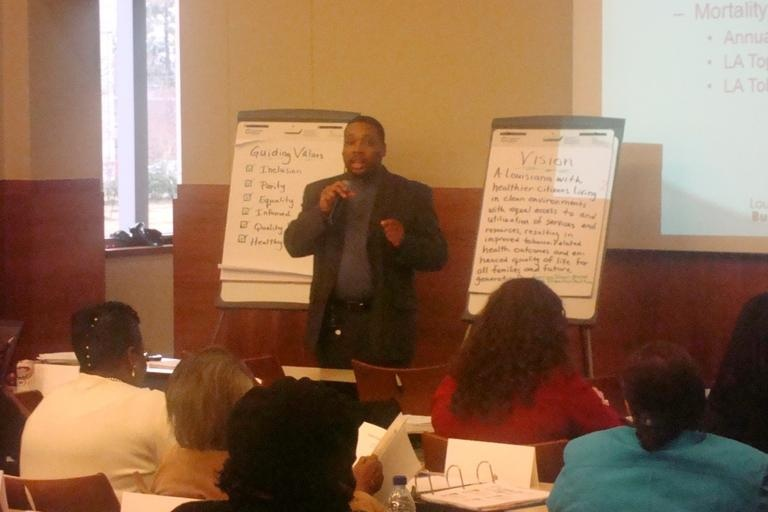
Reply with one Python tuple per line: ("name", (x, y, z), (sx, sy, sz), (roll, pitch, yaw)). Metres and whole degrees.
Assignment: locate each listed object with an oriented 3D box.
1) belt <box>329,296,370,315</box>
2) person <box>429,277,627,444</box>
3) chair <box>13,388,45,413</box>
("belt", (-0.199, 0.295, 4.267), (0.232, 0.064, 0.042), (3, 1, -4))
("person", (0.721, 0.483, 3.334), (0.533, 0.724, 0.431), (11, 29, 35))
("chair", (-1.954, 0.783, 3.925), (0.114, 0.139, 0.364), (1, 2, -31))
